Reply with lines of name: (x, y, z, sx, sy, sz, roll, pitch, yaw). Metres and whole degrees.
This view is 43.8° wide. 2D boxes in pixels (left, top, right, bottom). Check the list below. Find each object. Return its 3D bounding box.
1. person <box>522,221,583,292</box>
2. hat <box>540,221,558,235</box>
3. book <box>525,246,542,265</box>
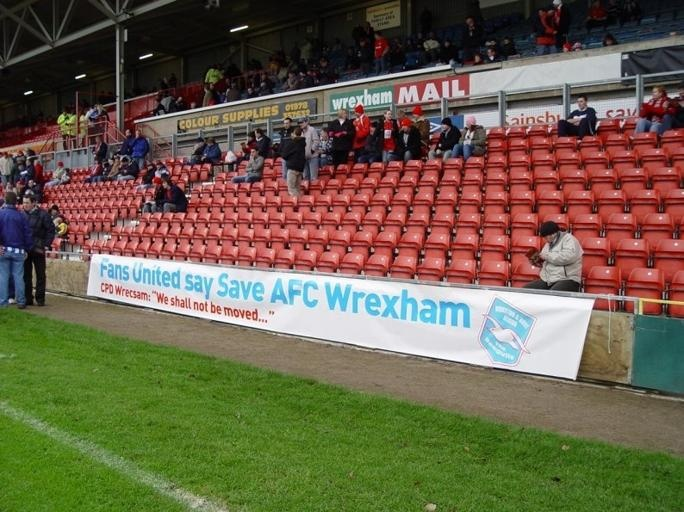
person: (3.458, 0.172, 14.009, 1.085, 1.425, 0.859, -4, 5, -20)
hat: (3.394, -0.432, 13.843, 0.334, 0.238, 0.181, -2, 3, -2)
book: (3.129, 0.061, 13.932, 0.251, 0.253, 0.105, -43, 13, -32)
